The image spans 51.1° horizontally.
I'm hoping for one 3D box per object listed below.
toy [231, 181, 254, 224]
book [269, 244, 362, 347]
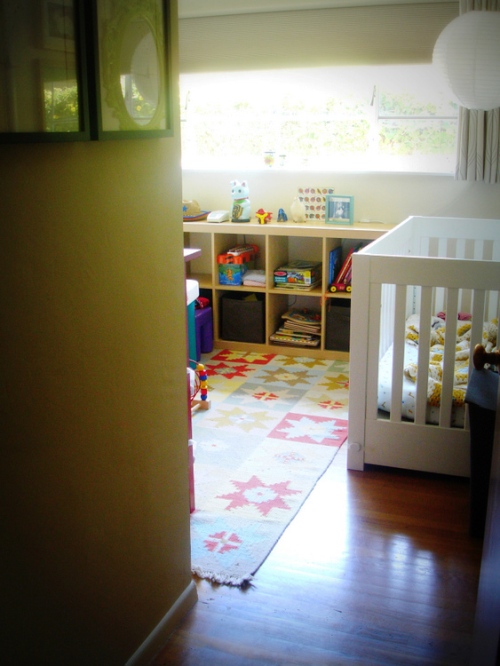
[{"bbox_3d":[-0.068,-0.997,3.980,0.135,0.300,0.288,0,11,1],"label":"toy"},{"bbox_3d":[0.447,-0.255,3.618,0.625,0.700,0.367,3,6,11],"label":"book"}]
